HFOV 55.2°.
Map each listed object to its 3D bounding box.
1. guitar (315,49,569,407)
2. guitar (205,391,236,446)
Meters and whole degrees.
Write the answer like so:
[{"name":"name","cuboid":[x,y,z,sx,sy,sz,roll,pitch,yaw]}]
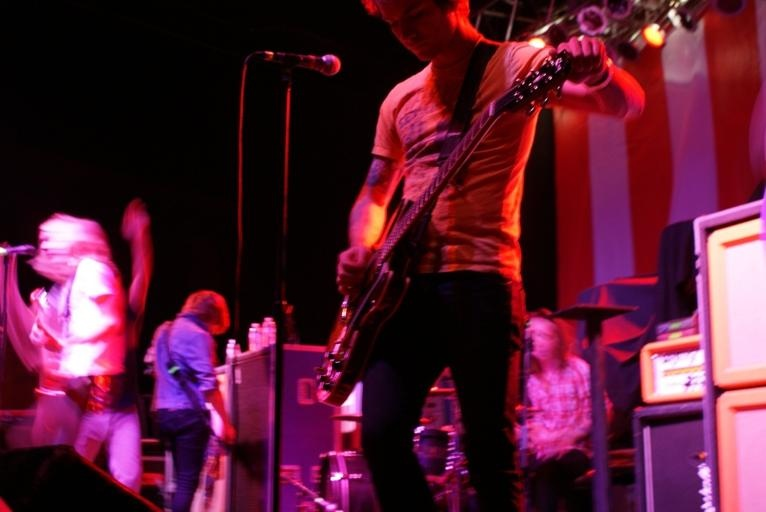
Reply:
[{"name":"guitar","cuboid":[0.209,-0.098,3.442,1.363,1.499,0.190,-11,-21,34]},{"name":"guitar","cuboid":[-1.282,1.276,5.777,0.067,0.213,0.427,-1,25,-19]}]
